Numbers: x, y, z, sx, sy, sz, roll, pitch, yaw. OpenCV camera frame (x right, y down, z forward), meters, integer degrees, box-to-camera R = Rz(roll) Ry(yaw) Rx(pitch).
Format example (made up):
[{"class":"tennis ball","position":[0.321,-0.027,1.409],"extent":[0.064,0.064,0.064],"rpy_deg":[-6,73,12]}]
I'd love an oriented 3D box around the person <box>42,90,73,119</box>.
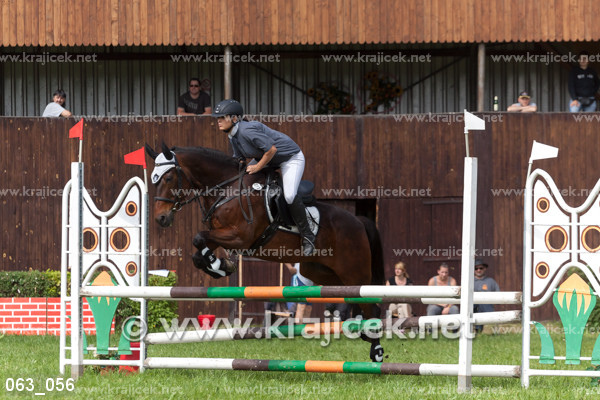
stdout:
[{"class":"person","position":[-5.035,-1.916,31.687],"extent":[0.566,0.623,1.550],"rpy_deg":[0,-1,-8]}]

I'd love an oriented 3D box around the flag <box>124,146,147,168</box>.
[{"class":"flag","position":[-3.008,-0.760,27.956],"extent":[0.358,0.426,0.035],"rpy_deg":[7,6,13]}]

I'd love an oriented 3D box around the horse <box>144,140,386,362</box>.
[{"class":"horse","position":[-0.691,0.977,27.301],"extent":[4.422,3.354,1.179],"rpy_deg":[18,-31,-15]}]

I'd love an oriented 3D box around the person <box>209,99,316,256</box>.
[{"class":"person","position":[-0.581,-0.474,26.607],"extent":[1.350,2.755,1.090],"rpy_deg":[-7,16,11]}]

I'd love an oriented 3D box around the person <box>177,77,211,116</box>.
[{"class":"person","position":[-2.203,-2.118,31.795],"extent":[0.764,1.233,0.714],"rpy_deg":[-1,0,-4]}]

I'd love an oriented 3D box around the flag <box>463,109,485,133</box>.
[{"class":"flag","position":[2.867,-1.272,25.233],"extent":[0.299,0.381,0.457],"rpy_deg":[-1,-1,9]}]

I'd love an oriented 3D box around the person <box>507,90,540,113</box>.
[{"class":"person","position":[4.634,-2.020,31.603],"extent":[0.531,0.425,0.781],"rpy_deg":[2,-2,12]}]
